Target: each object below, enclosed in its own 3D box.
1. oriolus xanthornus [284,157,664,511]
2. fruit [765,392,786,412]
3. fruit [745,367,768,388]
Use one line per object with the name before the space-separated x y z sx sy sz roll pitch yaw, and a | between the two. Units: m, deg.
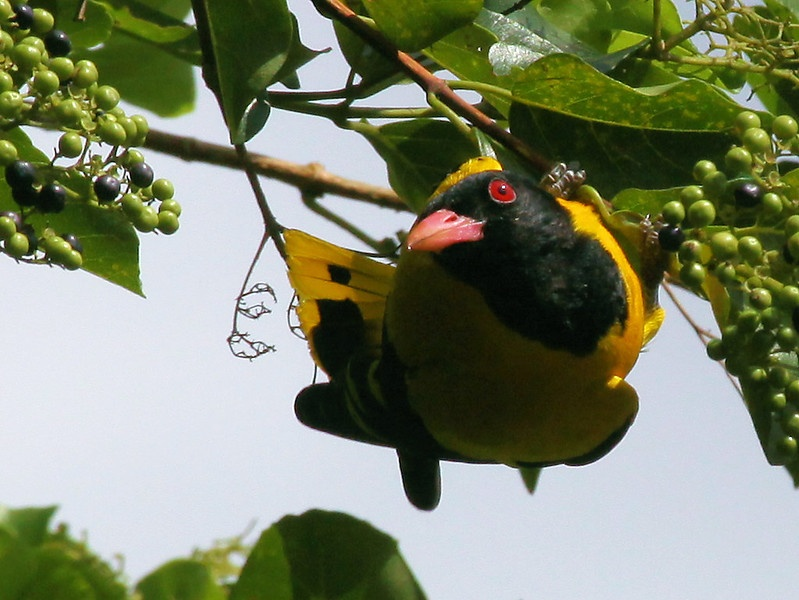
oriolus xanthornus | 0.039 0.026 0.960 0.258 0.196 0.178 -24 -38 33
fruit | 0.244 0.066 0.951 0.012 0.013 0.012 -10 -39 32
fruit | 0.232 0.050 0.951 0.012 0.011 0.013 -18 -35 -13
